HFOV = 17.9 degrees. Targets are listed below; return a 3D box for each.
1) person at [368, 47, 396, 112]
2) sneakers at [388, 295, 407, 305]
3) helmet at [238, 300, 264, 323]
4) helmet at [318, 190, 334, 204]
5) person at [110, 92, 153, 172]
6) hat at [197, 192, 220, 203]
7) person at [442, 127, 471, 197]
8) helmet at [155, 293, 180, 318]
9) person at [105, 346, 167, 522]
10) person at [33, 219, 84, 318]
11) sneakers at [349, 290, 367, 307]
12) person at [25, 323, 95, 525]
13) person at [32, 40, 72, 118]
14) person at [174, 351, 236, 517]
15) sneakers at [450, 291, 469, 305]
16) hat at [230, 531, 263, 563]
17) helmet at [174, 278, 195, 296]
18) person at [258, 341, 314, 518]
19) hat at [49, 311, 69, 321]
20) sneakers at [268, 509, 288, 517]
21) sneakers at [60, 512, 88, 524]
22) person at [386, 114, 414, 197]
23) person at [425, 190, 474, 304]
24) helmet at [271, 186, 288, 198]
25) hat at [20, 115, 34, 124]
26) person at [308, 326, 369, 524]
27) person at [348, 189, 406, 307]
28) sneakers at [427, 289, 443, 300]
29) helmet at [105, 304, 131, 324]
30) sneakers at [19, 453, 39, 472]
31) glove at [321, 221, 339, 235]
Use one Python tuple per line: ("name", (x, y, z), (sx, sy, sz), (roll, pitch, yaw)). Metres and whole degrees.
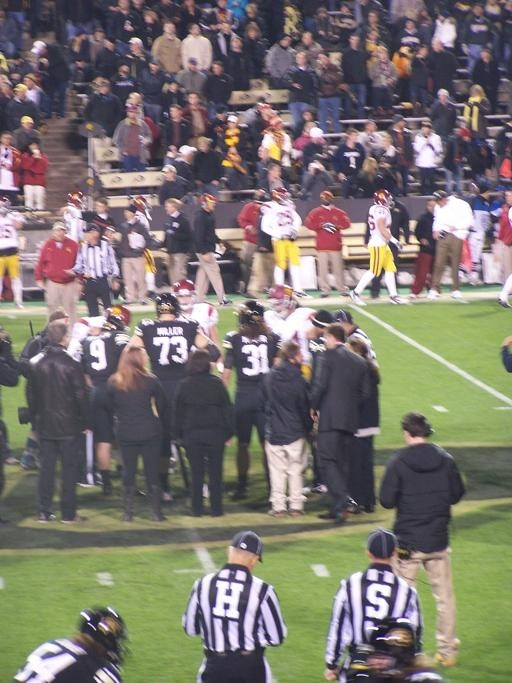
("person", (2.116, -4.328, 27.330), (0.486, 1.155, 0.751), (1, 15, 4))
("sneakers", (2.070, -0.550, 23.815), (0.257, 0.102, 0.118), (9, -26, 10))
("helmet", (-0.053, -0.271, 15.989), (0.217, 0.242, 0.169), (4, 3, 0))
("helmet", (1.008, -2.036, 23.533), (0.142, 0.220, 0.404), (0, 15, -1))
("person", (-2.010, -3.235, 25.954), (0.503, 1.212, 0.687), (5, 15, 17))
("hat", (-0.724, -2.055, 23.560), (0.324, 0.121, 0.240), (5, 8, 37))
("person", (3.234, -2.873, 26.161), (0.388, 1.175, 0.830), (3, 15, 12))
("helmet", (-0.873, -0.330, 15.796), (0.229, 0.240, 0.331), (-1, 15, -3))
("person", (-1.122, 0.915, 15.244), (0.537, 1.743, 0.388), (-2, 15, -6))
("person", (-2.635, -0.746, 21.638), (0.621, 1.707, 0.518), (-3, 36, -9))
("sneakers", (1.474, -0.580, 23.840), (0.151, 0.354, 0.120), (-17, 42, 28))
("person", (-1.854, 0.820, 15.156), (0.565, 1.935, 0.357), (-2, 15, -8))
("person", (-3.474, -4.297, 27.695), (0.630, 1.781, 0.451), (8, -39, -29))
("person", (-0.506, 0.928, 15.340), (0.555, 1.652, 0.360), (0, 15, -2))
("sneakers", (3.020, -0.633, 24.242), (0.111, 0.130, 0.304), (-13, 12, -9))
("hat", (-0.070, 1.435, 11.254), (0.168, 0.143, 0.258), (9, 14, 8))
("helmet", (-0.761, -0.535, 16.851), (0.195, 0.159, 0.180), (-6, 5, -3))
("person", (0.292, 0.874, 15.478), (0.455, 1.648, 0.327), (0, 15, 1))
("hat", (-1.928, -0.212, 15.554), (0.092, 0.101, 0.127), (-9, -10, 8))
("sneakers", (0.194, 1.669, 15.564), (0.123, 0.055, 0.069), (-3, -2, 36))
("sneakers", (-1.734, 1.704, 15.408), (0.279, 0.135, 0.101), (-2, 14, -15))
("person", (2.258, -2.879, 25.691), (0.335, 1.246, 0.999), (4, 15, 14))
("person", (2.846, -1.344, 23.871), (0.601, 1.689, 0.754), (1, 15, 5))
("helmet", (0.313, -2.055, 22.819), (0.216, 0.180, 0.198), (-9, -4, 2))
("hat", (-3.615, -3.408, 25.347), (0.194, 0.107, 0.187), (0, -7, -1))
("person", (0.748, 0.848, 15.087), (0.519, 1.905, 0.512), (3, 15, 10))
("person", (1.750, -1.288, 23.534), (0.712, 1.731, 0.909), (6, 16, 22))
("sneakers", (2.670, -0.653, 24.352), (0.168, 0.172, 0.400), (-2, 0, 8))
("helmet", (-1.399, -0.234, 16.207), (0.160, 0.169, 0.212), (12, 16, 27))
("sneakers", (-2.384, 1.288, 17.001), (0.213, 0.215, 0.130), (-1, 6, -31))
("glove", (1.061, -1.606, 23.674), (0.118, 0.099, 0.269), (-19, 24, -34))
